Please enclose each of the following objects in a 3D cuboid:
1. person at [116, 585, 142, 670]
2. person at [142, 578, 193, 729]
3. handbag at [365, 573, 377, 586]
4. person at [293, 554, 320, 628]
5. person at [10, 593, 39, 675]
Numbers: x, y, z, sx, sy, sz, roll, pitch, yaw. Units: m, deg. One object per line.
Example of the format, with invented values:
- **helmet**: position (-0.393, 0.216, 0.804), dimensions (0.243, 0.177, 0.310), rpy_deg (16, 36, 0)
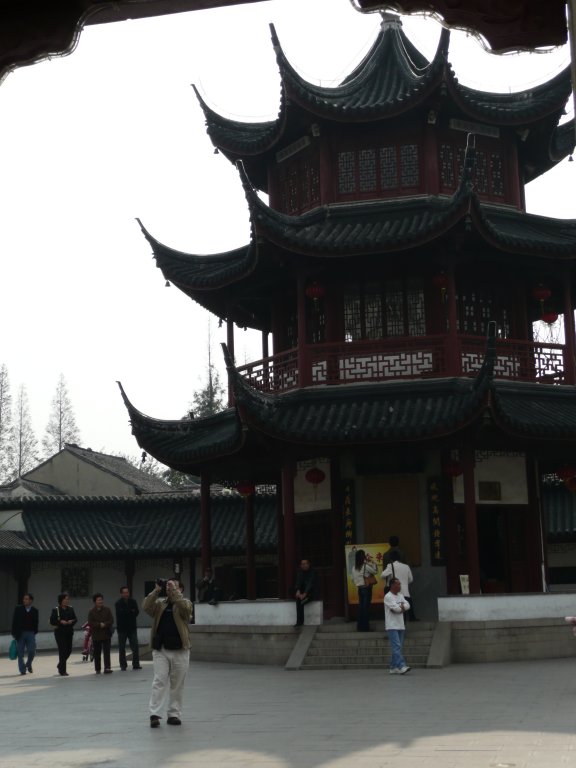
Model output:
- **person**: position (-2.721, 4.101, 19.312), dimensions (0.374, 1.625, 0.335), rpy_deg (-8, 24, -22)
- **person**: position (-1.207, 2.631, 11.251), dimensions (0.469, 1.416, 1.923), rpy_deg (0, -12, -5)
- **handbag**: position (1.312, 3.082, 17.874), dimensions (0.061, 0.187, 0.165), rpy_deg (-15, -9, 36)
- **person**: position (0.304, 3.410, 18.092), dimensions (0.367, 0.926, 0.351), rpy_deg (-1, -11, 1)
- **person**: position (-4.969, 4.736, 21.361), dimensions (0.433, 1.455, 4.355), rpy_deg (2, -14, -13)
